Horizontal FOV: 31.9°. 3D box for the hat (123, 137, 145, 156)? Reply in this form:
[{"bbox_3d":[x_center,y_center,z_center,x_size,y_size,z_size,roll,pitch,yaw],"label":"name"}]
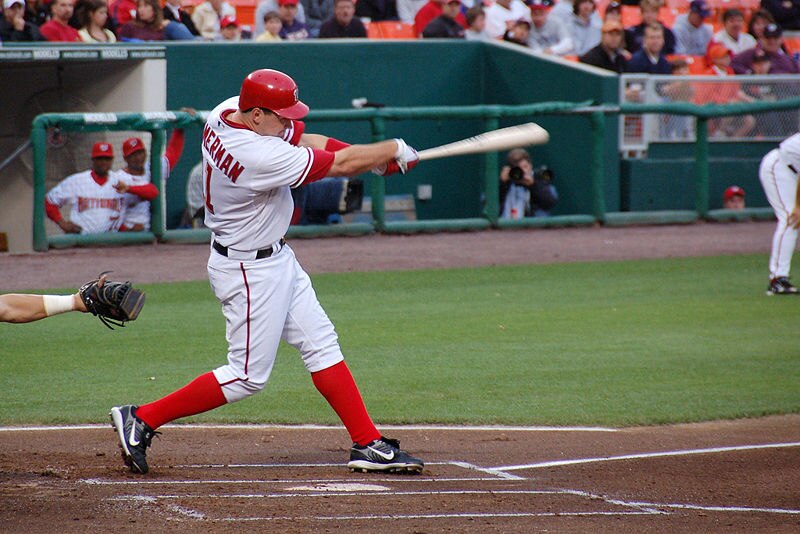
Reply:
[{"bbox_3d":[-2.730,-1.217,14.232,0.161,0.121,0.240,-21,3,-18],"label":"hat"}]

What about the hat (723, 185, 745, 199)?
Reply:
[{"bbox_3d":[3.833,-0.850,16.035,0.283,0.159,0.171,-2,5,-13],"label":"hat"}]

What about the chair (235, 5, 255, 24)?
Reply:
[{"bbox_3d":[-2.025,-3.218,18.129,0.342,0.296,0.241,-1,3,-10],"label":"chair"}]

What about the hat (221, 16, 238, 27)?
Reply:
[{"bbox_3d":[-2.031,-2.873,16.469,0.170,0.140,0.312,-3,5,-13],"label":"hat"}]

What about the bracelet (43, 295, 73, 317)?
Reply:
[{"bbox_3d":[-2.459,0.276,10.061,0.214,0.145,0.250,-2,5,-12],"label":"bracelet"}]

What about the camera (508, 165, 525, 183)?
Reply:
[{"bbox_3d":[1.238,-0.997,15.136,0.136,0.141,0.140,1,-4,7],"label":"camera"}]

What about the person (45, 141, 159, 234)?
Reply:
[{"bbox_3d":[-3.070,-0.818,14.135,0.905,0.769,0.470,-3,22,-39],"label":"person"}]

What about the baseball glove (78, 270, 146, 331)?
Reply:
[{"bbox_3d":[-2.111,0.265,10.106,0.462,0.389,0.216,31,-29,13],"label":"baseball glove"}]

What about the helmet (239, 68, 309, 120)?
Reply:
[{"bbox_3d":[-0.879,-1.199,9.736,0.451,0.209,0.313,0,22,2],"label":"helmet"}]

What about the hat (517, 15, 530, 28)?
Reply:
[{"bbox_3d":[1.526,-3.040,17.473,0.163,0.141,0.238,-1,5,5],"label":"hat"}]
